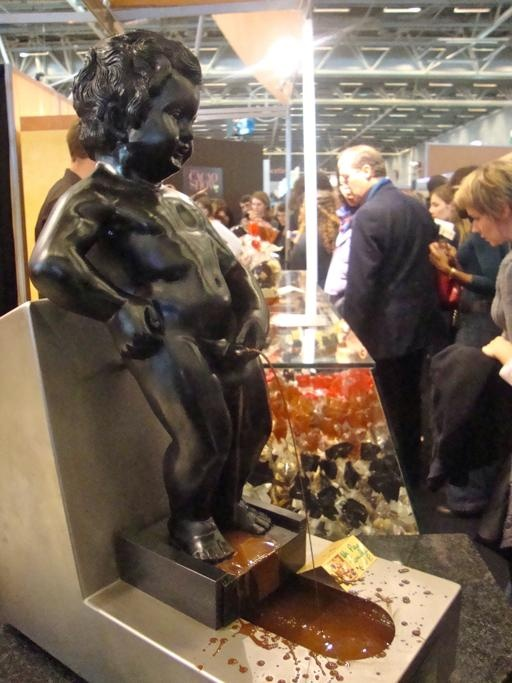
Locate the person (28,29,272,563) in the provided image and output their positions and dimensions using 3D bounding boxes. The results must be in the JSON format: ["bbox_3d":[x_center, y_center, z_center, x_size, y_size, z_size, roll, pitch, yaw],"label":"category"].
[{"bbox_3d":[-0.157,-0.083,1.061,0.404,0.929,0.348,2,15,1],"label":"person"}]
